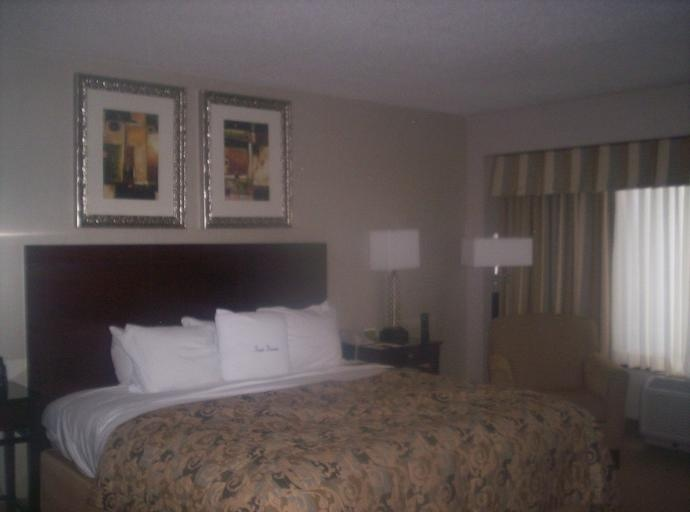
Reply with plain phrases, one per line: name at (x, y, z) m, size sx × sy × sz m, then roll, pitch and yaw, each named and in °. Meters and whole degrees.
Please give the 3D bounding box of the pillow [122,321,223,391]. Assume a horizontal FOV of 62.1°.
pillow at (-1.337, 0.766, 4.433) m, size 0.724 × 0.466 × 0.330 m, roll -3°, pitch 8°, yaw -24°

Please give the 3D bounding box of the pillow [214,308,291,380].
pillow at (-0.753, 0.712, 4.682) m, size 0.579 × 0.538 × 0.345 m, roll -2°, pitch 8°, yaw -15°

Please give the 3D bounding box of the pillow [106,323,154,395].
pillow at (-1.693, 0.796, 4.551) m, size 0.392 × 0.470 × 0.127 m, roll 21°, pitch 28°, yaw 37°
